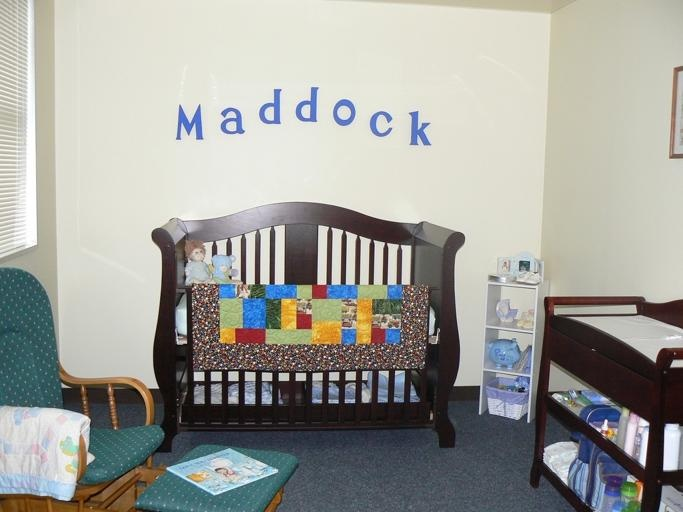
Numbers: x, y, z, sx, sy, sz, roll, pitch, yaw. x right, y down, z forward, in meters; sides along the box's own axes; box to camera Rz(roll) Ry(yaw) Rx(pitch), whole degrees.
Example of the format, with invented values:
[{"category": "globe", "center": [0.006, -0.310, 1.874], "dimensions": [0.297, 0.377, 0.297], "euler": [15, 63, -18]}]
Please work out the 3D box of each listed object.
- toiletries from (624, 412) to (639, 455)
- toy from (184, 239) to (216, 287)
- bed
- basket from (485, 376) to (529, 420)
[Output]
[{"category": "toiletries", "center": [1.331, 0.816, 2.734], "dimensions": [0.050, 0.171, 0.080], "euler": [8, 14, 29]}, {"category": "toy", "center": [-0.890, 0.048, 3.672], "dimensions": [0.208, 0.340, 0.251], "euler": [2, -7, -40]}, {"category": "bed", "center": [-0.224, 0.443, 3.862], "dimensions": [1.762, 1.570, 0.735], "euler": [1, 7, -10]}, {"category": "basket", "center": [1.146, 0.976, 4.108], "dimensions": [0.215, 0.228, 0.284], "euler": [-1, -3, 39]}]
